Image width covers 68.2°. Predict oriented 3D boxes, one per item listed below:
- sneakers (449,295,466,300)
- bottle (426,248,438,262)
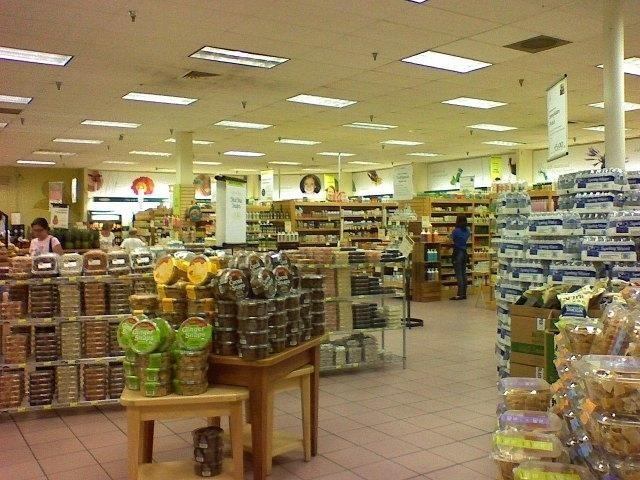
[{"bbox_3d":[3.883,1.644,13.309,0.466,0.137,0.151,2,-3,12],"label":"sneakers"},{"bbox_3d":[3.114,0.403,13.124,0.366,0.380,0.433,1,2,-1],"label":"bottle"}]
